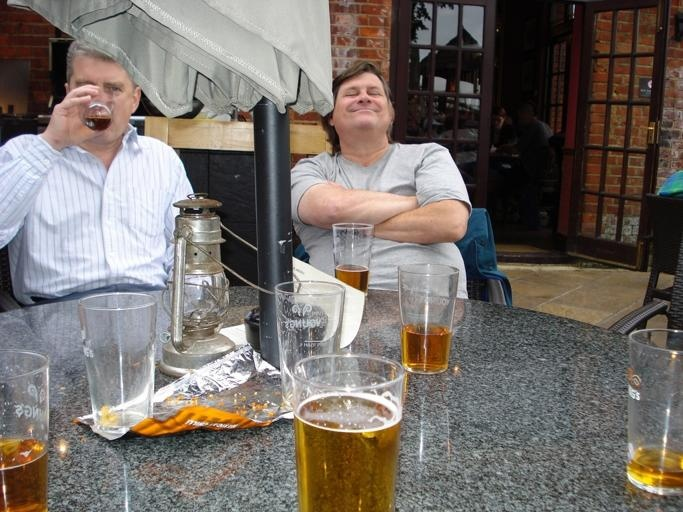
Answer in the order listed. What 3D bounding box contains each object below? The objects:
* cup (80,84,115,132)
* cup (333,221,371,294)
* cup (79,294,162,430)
[{"bbox_3d":[-0.723,-0.433,1.683,0.090,0.147,0.147,3,20,-14],"label":"cup"},{"bbox_3d":[0.025,0.008,1.384,0.092,0.164,0.160,1,14,-1],"label":"cup"},{"bbox_3d":[-0.299,0.148,0.785,0.097,0.166,0.072,-5,15,-21],"label":"cup"}]
